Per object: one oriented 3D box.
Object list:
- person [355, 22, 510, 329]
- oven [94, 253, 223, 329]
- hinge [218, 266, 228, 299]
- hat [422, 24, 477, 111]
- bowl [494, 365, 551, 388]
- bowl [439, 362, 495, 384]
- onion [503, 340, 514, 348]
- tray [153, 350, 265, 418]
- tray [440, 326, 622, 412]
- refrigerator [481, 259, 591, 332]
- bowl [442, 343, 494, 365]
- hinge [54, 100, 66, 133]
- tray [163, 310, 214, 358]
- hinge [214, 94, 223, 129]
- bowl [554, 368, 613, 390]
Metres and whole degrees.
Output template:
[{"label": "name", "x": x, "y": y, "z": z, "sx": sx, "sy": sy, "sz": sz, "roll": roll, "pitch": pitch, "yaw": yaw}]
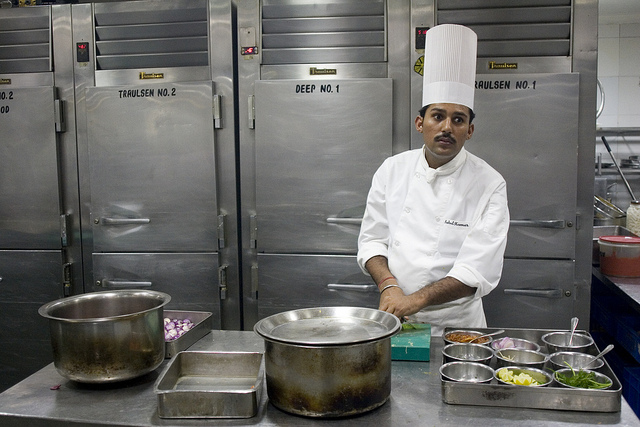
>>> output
[{"label": "person", "x": 0.598, "y": -0.139, "z": 2.686, "sx": 0.781, "sy": 1.615, "sz": 0.754, "roll": 0, "pitch": 14, "yaw": 2}, {"label": "oven", "x": -1.119, "y": 0.452, "z": 3.731, "sx": 0.887, "sy": 0.565, "sz": 0.564, "roll": 0, "pitch": -1, "yaw": 3}, {"label": "hinge", "x": -0.676, "y": 0.490, "z": 3.715, "sx": 0.063, "sy": 0.235, "sz": 0.049, "roll": -4, "pitch": 15, "yaw": -14}, {"label": "hat", "x": 0.674, "y": -0.779, "z": 2.828, "sx": 0.304, "sy": 0.387, "sz": 0.259, "roll": 4, "pitch": 4, "yaw": -2}, {"label": "bowl", "x": 0.833, "y": 0.667, "z": 2.170, "sx": 0.214, "sy": 0.049, "sz": 0.112, "roll": 4, "pitch": 13, "yaw": 18}, {"label": "bowl", "x": 0.606, "y": 0.675, "z": 2.171, "sx": 0.216, "sy": 0.070, "sz": 0.140, "roll": 3, "pitch": 13, "yaw": 13}, {"label": "onion", "x": 0.849, "y": 0.589, "z": 2.376, "sx": 0.039, "sy": 0.010, "sz": 0.028, "roll": -14, "pitch": 1, "yaw": -30}, {"label": "tray", "x": -0.446, "y": 0.707, "z": 2.208, "sx": 0.419, "sy": 0.153, "sz": 0.299, "roll": 0, "pitch": 13, "yaw": 1}, {"label": "tray", "x": 0.871, "y": 0.653, "z": 2.300, "sx": 0.701, "sy": 0.158, "sz": 0.471, "roll": 1, "pitch": 12, "yaw": 7}, {"label": "refrigerator", "x": 1.331, "y": 0.501, "z": 3.718, "sx": 0.911, "sy": 0.563, "sz": 0.495, "roll": 4, "pitch": 1, "yaw": -16}, {"label": "bowl", "x": 0.645, "y": 0.617, "z": 2.297, "sx": 0.216, "sy": 0.056, "sz": 0.139, "roll": 3, "pitch": 13, "yaw": 14}, {"label": "hinge", "x": -1.842, "y": -0.691, "z": 3.750, "sx": 0.076, "sy": 0.223, "sz": 0.048, "roll": -7, "pitch": 16, "yaw": -23}, {"label": "tray", "x": -0.660, "y": 0.634, "z": 2.692, "sx": 0.073, "sy": 0.344, "sz": 0.372, "roll": 8, "pitch": 1, "yaw": -28}, {"label": "hinge", "x": -0.689, "y": -0.694, "z": 3.622, "sx": 0.045, "sy": 0.224, "sz": 0.081, "roll": 8, "pitch": 17, "yaw": 30}, {"label": "bowl", "x": 1.065, "y": 0.672, "z": 2.130, "sx": 0.223, "sy": 0.055, "sz": 0.123, "roll": 4, "pitch": 13, "yaw": 17}]
